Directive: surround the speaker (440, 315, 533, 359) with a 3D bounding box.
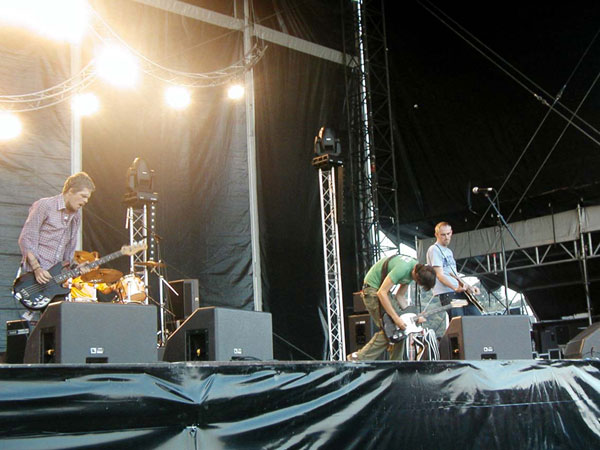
[{"bbox_3d":[2.139,1.390,9.010,0.778,0.571,0.572,1,-10,-15],"label":"speaker"}]

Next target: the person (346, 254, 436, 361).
[{"bbox_3d":[1.075,0.945,8.871,0.595,1.159,0.943,6,-18,-34],"label":"person"}]

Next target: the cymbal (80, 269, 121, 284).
[{"bbox_3d":[-2.499,0.648,9.624,0.285,0.085,0.287,17,-43,-41],"label":"cymbal"}]

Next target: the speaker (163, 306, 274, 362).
[{"bbox_3d":[-0.830,1.260,8.248,1.020,0.643,1.003,8,-16,-44],"label":"speaker"}]
